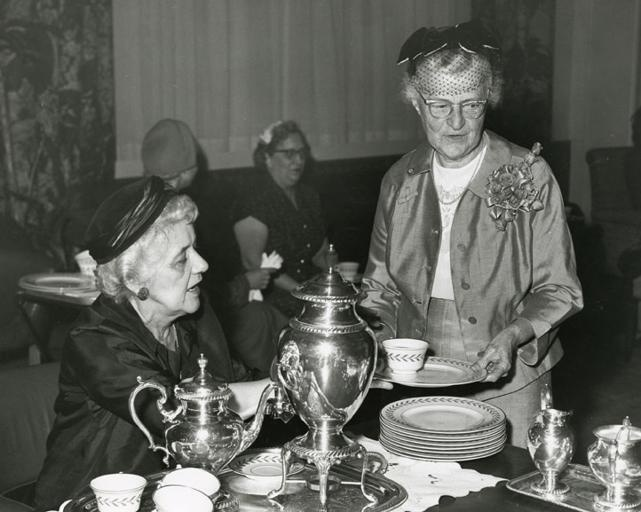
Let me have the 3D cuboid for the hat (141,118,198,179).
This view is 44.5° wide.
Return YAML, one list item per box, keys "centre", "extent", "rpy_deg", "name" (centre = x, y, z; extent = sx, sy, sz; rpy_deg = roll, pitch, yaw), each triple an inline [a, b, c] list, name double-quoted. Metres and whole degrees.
- centre: [-0.635, -0.440, 3.410]
  extent: [0.203, 0.228, 0.274]
  rpy_deg: [-1, -12, 4]
  name: "hat"

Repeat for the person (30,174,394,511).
- centre: [-0.184, 0.141, 2.939]
  extent: [1.004, 1.545, 0.833]
  rpy_deg: [5, 16, 15]
  name: "person"

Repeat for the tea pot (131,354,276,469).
- centre: [-0.291, 0.399, 1.985]
  extent: [0.366, 0.331, 0.221]
  rpy_deg: [-6, 9, -16]
  name: "tea pot"

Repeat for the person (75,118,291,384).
- centre: [-0.718, -0.229, 4.207]
  extent: [1.040, 1.847, 0.652]
  rpy_deg: [-5, 15, -16]
  name: "person"

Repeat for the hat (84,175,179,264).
- centre: [-0.606, -0.115, 2.510]
  extent: [0.299, 0.264, 0.142]
  rpy_deg: [-6, 9, -16]
  name: "hat"

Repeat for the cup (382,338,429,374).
- centre: [0.264, 0.310, 2.441]
  extent: [0.110, 0.069, 0.114]
  rpy_deg: [1, -13, 0]
  name: "cup"

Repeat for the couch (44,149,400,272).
- centre: [-0.441, -0.192, 3.264]
  extent: [0.347, 0.300, 0.914]
  rpy_deg: [26, 25, 38]
  name: "couch"

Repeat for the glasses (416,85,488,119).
- centre: [0.472, -0.534, 2.770]
  extent: [0.249, 0.117, 0.123]
  rpy_deg: [-2, 9, 10]
  name: "glasses"
